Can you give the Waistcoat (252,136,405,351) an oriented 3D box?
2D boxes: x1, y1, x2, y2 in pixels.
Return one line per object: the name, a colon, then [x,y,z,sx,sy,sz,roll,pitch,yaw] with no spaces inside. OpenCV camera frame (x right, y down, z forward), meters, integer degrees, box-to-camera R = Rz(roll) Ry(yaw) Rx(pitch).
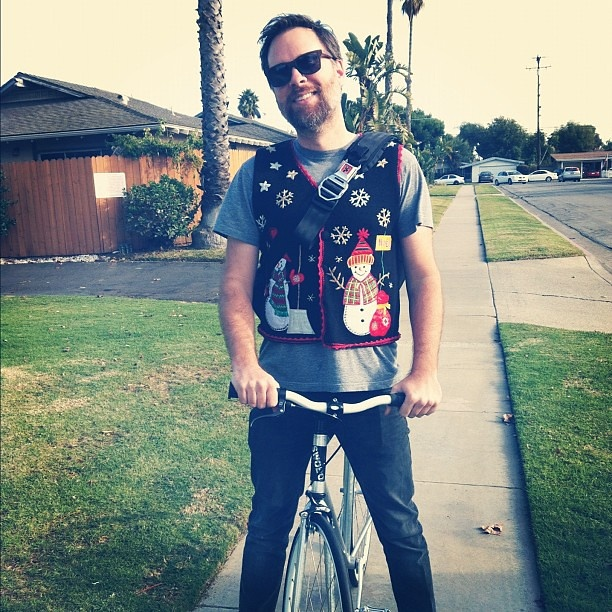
Waistcoat: [0.093,-0.244,2.295,0.508,0.776,0.420,1,-3,9]
